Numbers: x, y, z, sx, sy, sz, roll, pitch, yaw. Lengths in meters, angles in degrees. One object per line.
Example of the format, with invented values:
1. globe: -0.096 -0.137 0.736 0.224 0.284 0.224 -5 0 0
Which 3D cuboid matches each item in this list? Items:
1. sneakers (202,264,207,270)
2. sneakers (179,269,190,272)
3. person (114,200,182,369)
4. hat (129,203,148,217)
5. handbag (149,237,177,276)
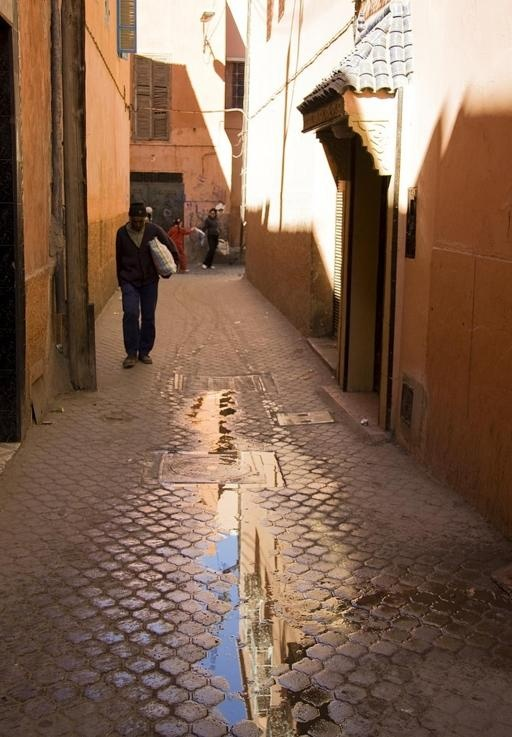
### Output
1. sneakers: -1.732 -3.412 23.255 0.100 0.228 0.312 -9 7 -29
2. sneakers: -2.254 -3.061 21.622 0.307 0.113 0.195 5 4 -30
3. person: -1.296 -0.976 8.142 0.692 1.925 0.708 1 6 -2
4. hat: -1.342 -1.787 7.870 0.184 0.198 0.241 2 7 9
5. handbag: -1.050 -1.274 7.917 0.334 0.435 0.412 2 7 9
